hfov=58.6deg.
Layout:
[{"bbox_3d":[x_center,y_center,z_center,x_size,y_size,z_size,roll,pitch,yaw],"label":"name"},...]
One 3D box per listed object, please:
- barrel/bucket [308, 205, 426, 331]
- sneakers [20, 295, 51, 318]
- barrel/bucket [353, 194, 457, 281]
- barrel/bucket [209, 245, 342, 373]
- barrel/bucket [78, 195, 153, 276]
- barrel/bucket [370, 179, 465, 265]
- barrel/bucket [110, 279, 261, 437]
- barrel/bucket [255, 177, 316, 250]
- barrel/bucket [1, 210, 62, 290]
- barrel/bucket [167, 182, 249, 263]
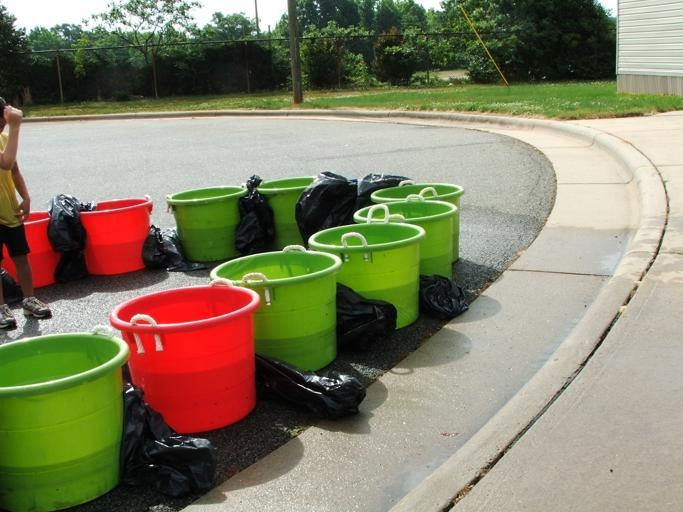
[{"bbox_3d":[0.376,0.037,4.546,0.989,0.683,0.916,-3,13,1],"label":"barrel/bucket"},{"bbox_3d":[-2.481,0.416,5.041,0.353,0.129,0.115,5,23,26],"label":"sneakers"},{"bbox_3d":[0.544,-0.189,5.241,0.874,0.441,0.832,-3,12,1],"label":"barrel/bucket"},{"bbox_3d":[-0.365,0.301,4.074,1.035,0.698,0.910,1,9,25],"label":"barrel/bucket"},{"bbox_3d":[-2.207,-0.292,6.100,0.693,0.485,0.641,-1,19,0],"label":"barrel/bucket"},{"bbox_3d":[0.827,-0.351,5.775,0.998,0.665,0.856,-2,10,-4],"label":"barrel/bucket"},{"bbox_3d":[-0.867,0.665,3.611,0.834,0.559,0.748,-7,-8,3],"label":"barrel/bucket"},{"bbox_3d":[-0.526,-0.465,6.390,0.578,0.662,0.742,-6,17,-1],"label":"barrel/bucket"},{"bbox_3d":[-2.852,-0.067,5.809,0.696,0.416,0.669,-2,13,0],"label":"barrel/bucket"},{"bbox_3d":[-1.374,-0.372,6.324,0.991,0.570,0.860,-5,14,-10],"label":"barrel/bucket"}]
